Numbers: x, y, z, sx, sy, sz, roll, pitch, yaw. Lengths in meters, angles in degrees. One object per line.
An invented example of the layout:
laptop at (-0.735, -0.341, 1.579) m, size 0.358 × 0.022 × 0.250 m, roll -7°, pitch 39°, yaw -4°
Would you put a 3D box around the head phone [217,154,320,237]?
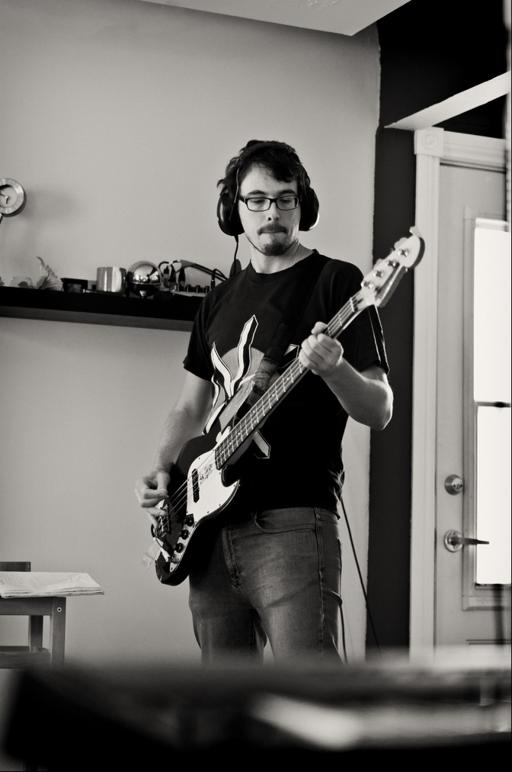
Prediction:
head phone at (0.015, -0.249, 1.119) m, size 0.109 × 0.145 × 0.061 m, roll 2°, pitch 22°, yaw 5°
